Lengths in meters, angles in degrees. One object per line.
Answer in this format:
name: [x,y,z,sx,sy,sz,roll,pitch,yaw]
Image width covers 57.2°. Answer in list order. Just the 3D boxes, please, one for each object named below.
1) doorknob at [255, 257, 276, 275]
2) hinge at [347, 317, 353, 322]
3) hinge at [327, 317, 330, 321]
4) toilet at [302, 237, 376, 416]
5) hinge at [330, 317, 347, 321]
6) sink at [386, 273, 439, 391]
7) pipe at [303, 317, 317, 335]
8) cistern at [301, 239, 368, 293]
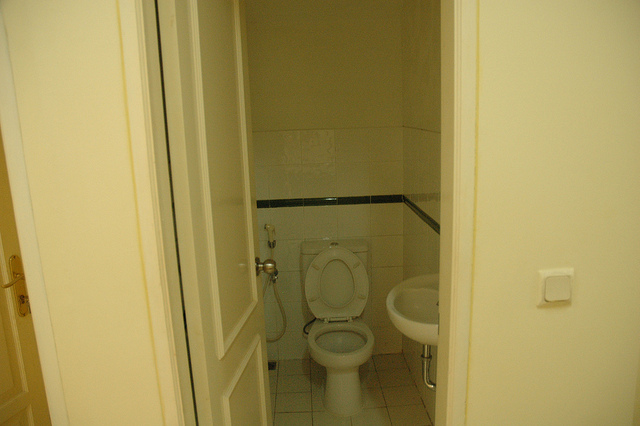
doorknob: [-0.247,0.240,2.667,0.073,0.082,0.047,-8,-22,19]
hinge: [0.205,0.718,3.963,0.036,0.021,0.037,1,-8,-2]
hinge: [0.057,0.716,3.964,0.017,0.010,0.019,5,-39,-5]
toilet: [0.118,0.704,3.888,0.479,1.074,0.701,-3,3,4]
hinge: [0.118,0.709,3.987,0.095,0.020,0.026,-1,4,-4]
sink: [0.473,0.609,2.937,0.256,0.542,0.561,-3,3,11]
pipe: [-0.083,0.800,4.170,0.081,0.089,0.079,-4,3,0]
cistern: [0.097,0.253,4.100,0.465,0.491,0.270,-2,7,-6]
